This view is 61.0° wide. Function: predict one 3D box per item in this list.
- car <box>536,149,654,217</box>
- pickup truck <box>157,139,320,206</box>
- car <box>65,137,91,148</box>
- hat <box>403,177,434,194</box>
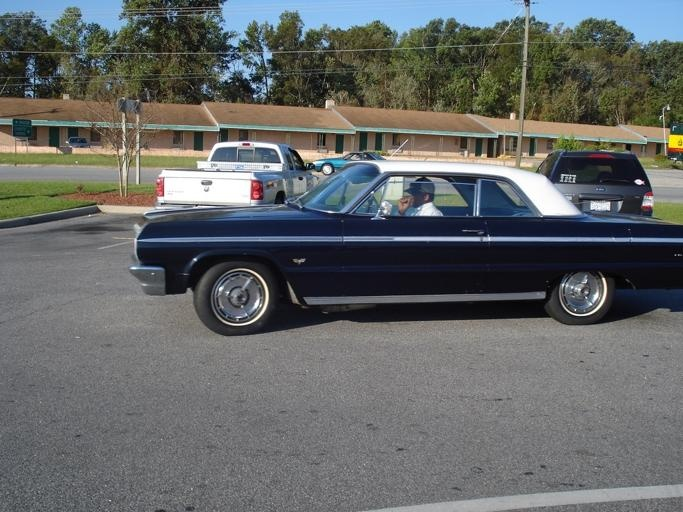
[{"bbox_3d":[5.026,-1.561,12.002,1.348,0.970,2.217,1,16,1],"label":"car"},{"bbox_3d":[-2.058,-1.599,12.573,1.763,1.291,3.851,5,13,21],"label":"pickup truck"},{"bbox_3d":[-24.258,-10.134,52.952,1.887,0.872,3.259,-3,13,-20],"label":"car"},{"bbox_3d":[0.924,-0.795,6.811,0.283,0.152,0.194,-2,0,1],"label":"hat"}]
